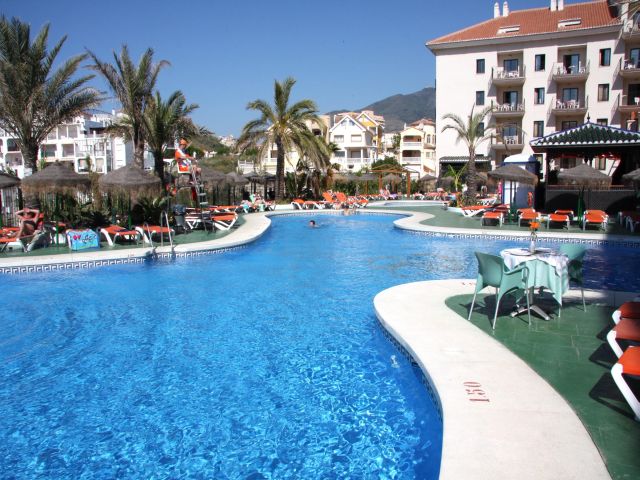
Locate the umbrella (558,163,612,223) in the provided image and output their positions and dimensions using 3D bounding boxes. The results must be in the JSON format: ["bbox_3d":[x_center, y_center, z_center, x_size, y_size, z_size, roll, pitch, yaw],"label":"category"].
[{"bbox_3d":[11.077,-1.792,18.912,1.863,2.159,1.693,4,-2,-25],"label":"umbrella"}]

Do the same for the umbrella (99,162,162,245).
[{"bbox_3d":[-7.220,-1.467,16.806,2.689,2.676,2.603,-6,12,-40],"label":"umbrella"}]

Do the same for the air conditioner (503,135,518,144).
[{"bbox_3d":[18.276,-9.429,42.467,1.322,0.906,0.790,6,12,21],"label":"air conditioner"}]

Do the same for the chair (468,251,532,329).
[{"bbox_3d":[2.925,0.771,7.277,0.820,1.102,0.754,-8,9,-31],"label":"chair"}]
